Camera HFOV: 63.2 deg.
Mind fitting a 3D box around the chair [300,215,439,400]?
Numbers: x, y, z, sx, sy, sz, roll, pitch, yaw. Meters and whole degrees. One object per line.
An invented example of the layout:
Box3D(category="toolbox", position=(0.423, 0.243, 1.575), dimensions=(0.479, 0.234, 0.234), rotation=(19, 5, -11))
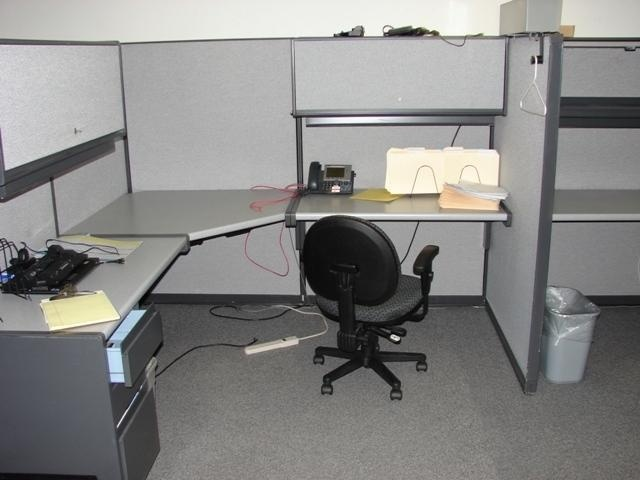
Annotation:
Box3D(category="chair", position=(0.261, 0.303, 2.723), dimensions=(0.660, 1.009, 0.424), rotation=(-1, 22, 3))

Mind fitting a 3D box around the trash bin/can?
Box3D(category="trash bin/can", position=(1.334, 0.531, 2.818), dimensions=(0.336, 0.497, 0.441), rotation=(2, 14, 15))
